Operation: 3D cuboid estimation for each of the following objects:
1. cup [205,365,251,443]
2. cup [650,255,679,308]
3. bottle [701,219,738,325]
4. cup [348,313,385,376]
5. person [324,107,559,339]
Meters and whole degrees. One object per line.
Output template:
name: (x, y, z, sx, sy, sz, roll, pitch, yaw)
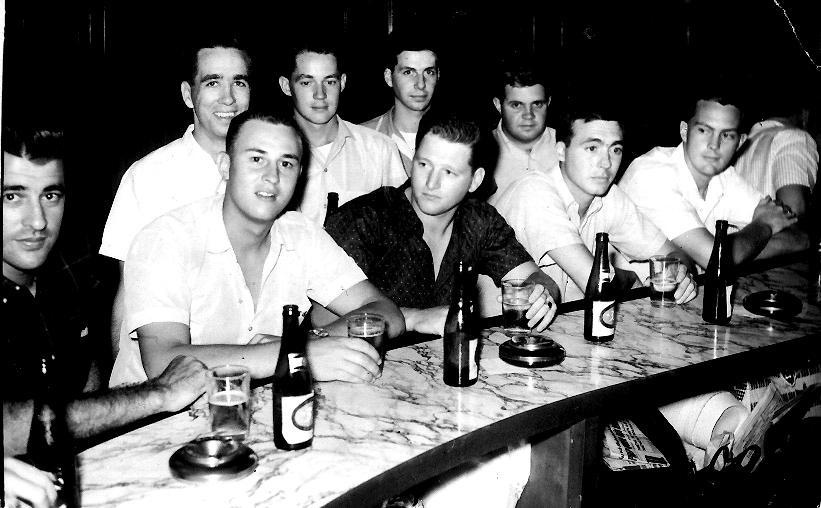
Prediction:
cup: (-0.635, 0.517, 2.283, 0.147, 0.222, 0.163, -5, 14, -17)
cup: (1.381, 0.145, 3.573, 0.152, 0.243, 0.168, 7, 16, 31)
bottle: (1.599, 0.082, 3.353, 0.148, 0.494, 0.284, 5, 15, 24)
cup: (-0.188, 0.366, 2.749, 0.152, 0.203, 0.151, -1, 13, 0)
person: (0.141, -0.161, 3.759, 1.528, 1.313, 0.876, -2, 53, -22)
